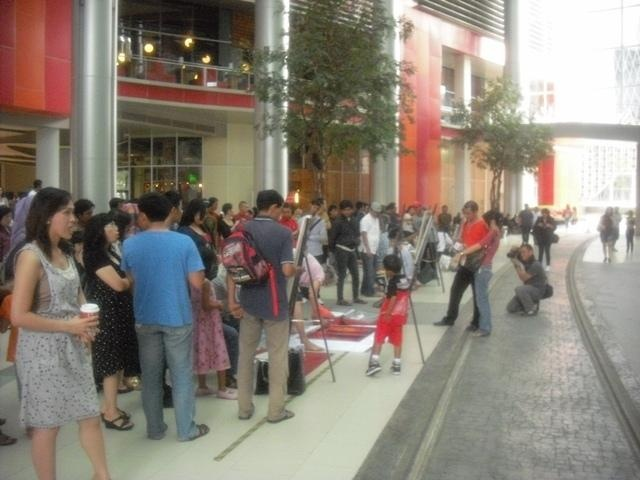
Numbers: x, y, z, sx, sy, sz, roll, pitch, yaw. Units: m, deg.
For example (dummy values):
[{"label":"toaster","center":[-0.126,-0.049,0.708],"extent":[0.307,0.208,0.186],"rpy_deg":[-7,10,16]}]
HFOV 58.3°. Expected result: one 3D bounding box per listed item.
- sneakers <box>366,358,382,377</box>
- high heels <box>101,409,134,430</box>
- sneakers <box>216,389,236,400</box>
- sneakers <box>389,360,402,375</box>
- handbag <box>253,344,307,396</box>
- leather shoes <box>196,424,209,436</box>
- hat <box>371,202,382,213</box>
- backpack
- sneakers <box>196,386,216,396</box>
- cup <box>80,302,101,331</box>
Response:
[{"label":"sneakers","center":[0.698,1.743,7.840],"extent":[0.119,0.228,0.313],"rpy_deg":[2,-9,-17]},{"label":"high heels","center":[-2.141,1.903,6.066],"extent":[0.329,0.133,0.172],"rpy_deg":[7,9,23]},{"label":"sneakers","center":[-1.110,1.877,6.962],"extent":[0.213,0.090,0.116],"rpy_deg":[-6,-12,27]},{"label":"sneakers","center":[1.049,1.764,7.898],"extent":[0.131,0.169,0.372],"rpy_deg":[0,-9,4]},{"label":"handbag","center":[-0.400,1.504,7.268],"extent":[0.836,0.897,0.479],"rpy_deg":[0,-6,0]},{"label":"leather shoes","center":[-1.207,1.956,5.896],"extent":[0.133,0.096,0.247],"rpy_deg":[-2,4,-8]},{"label":"hat","center":[1.279,-0.740,13.054],"extent":[0.196,0.141,0.273],"rpy_deg":[-5,11,-19]},{"label":"backpack","center":[-0.658,0.264,6.217],"extent":[0.576,0.974,0.367],"rpy_deg":[-2,15,29]},{"label":"sneakers","center":[-1.393,1.865,7.063],"extent":[0.255,0.105,0.095],"rpy_deg":[1,-5,-6]},{"label":"cup","center":[-1.777,0.582,4.437],"extent":[0.119,0.203,0.293],"rpy_deg":[-3,4,-20]}]
